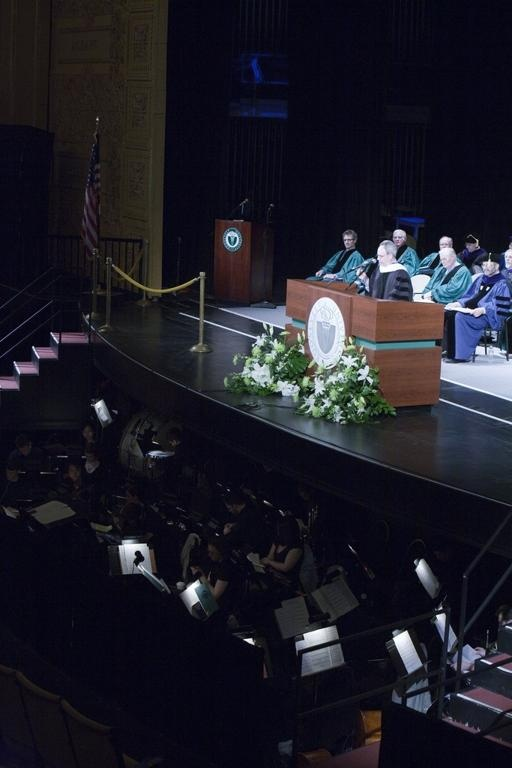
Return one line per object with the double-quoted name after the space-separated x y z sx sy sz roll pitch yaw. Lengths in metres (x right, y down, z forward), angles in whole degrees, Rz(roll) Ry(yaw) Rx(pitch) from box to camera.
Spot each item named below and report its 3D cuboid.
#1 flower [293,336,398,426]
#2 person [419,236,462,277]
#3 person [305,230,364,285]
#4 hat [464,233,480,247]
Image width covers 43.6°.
0.680 -0.075 5.113 0.548 0.306 0.561 5 19 -10 "flower"
2.690 -1.865 9.543 0.349 0.699 1.218 10 21 30 "person"
1.368 -2.087 10.795 0.762 1.049 0.714 2 11 -17 "person"
3.313 -2.184 9.820 0.174 0.214 0.628 6 10 16 "hat"
